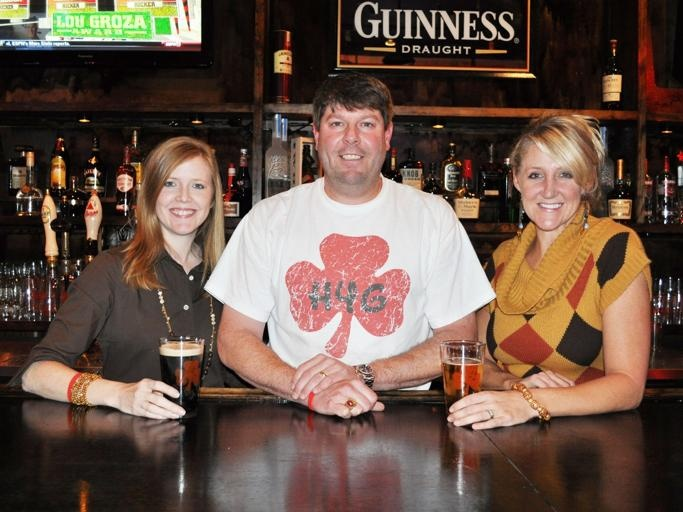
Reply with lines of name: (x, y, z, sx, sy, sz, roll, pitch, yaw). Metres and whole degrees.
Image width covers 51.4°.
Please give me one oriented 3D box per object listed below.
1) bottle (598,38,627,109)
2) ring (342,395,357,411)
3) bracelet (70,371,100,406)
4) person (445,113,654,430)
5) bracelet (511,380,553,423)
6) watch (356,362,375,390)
bottle: (1.514, -1.015, 3.957, 0.114, 0.413, 0.280, 0, 3, 20)
ring: (0.028, 0.439, 2.079, 0.028, 0.010, 0.029, -8, 37, 6)
bracelet: (-0.805, 0.413, 2.193, 0.074, 0.088, 0.034, 4, -25, -10)
person: (0.778, -0.027, 2.432, 0.635, 0.980, 0.929, -1, 3, 13)
bracelet: (0.565, 0.435, 2.105, 0.028, 0.099, 0.086, -42, -18, 5)
watch: (0.085, 0.408, 2.383, 0.054, 0.075, 0.082, -11, -6, -6)
